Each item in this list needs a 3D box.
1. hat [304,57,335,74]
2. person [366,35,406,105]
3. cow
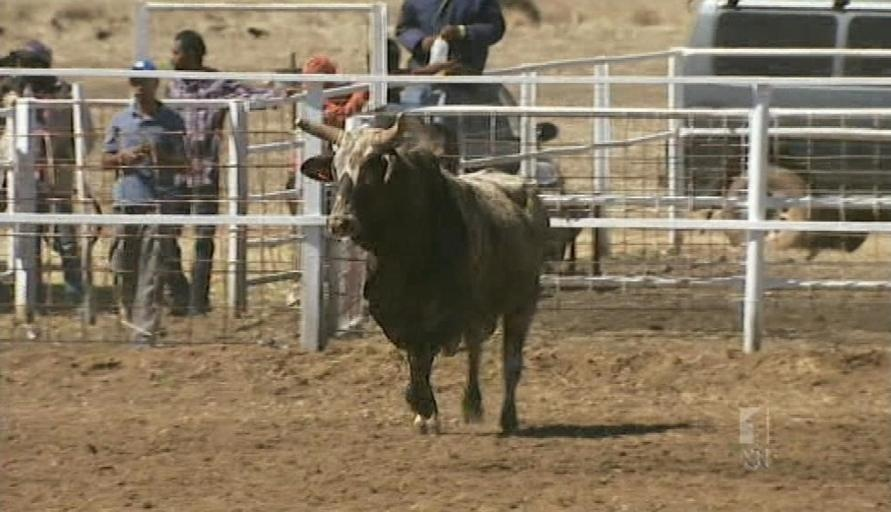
[{"bbox_3d":[-1.839,-2.715,34.089,0.418,0.165,0.445,-1,3,-11],"label":"hat"},{"bbox_3d":[-0.827,-2.700,34.108,0.464,1.226,0.812,-2,4,17],"label":"person"},{"bbox_3d":[-0.184,0.237,30.242,2.909,4.064,1.204,0,5,-13],"label":"cow"}]
